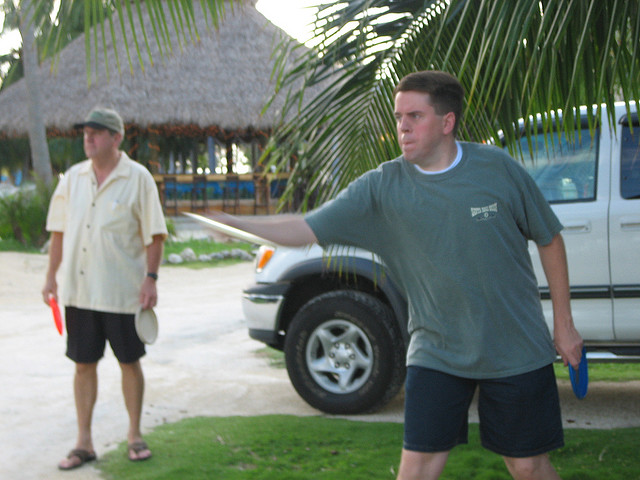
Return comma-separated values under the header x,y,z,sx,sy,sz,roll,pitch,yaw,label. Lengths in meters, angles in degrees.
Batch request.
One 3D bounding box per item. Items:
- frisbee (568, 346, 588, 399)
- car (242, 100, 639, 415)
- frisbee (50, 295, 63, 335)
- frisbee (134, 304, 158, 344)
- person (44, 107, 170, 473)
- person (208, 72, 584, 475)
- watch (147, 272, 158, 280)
x,y,z,sx,sy,sz,roll,pitch,yaw,label
1.413,0.739,4.661,0.090,0.352,0.316,1,6,19,frisbee
1.071,0.239,7.016,3.290,1.779,1.701,0,-3,6,car
-1.904,0.548,6.130,0.074,0.281,0.379,-2,6,-18,frisbee
-1.178,0.572,5.778,0.194,0.280,0.134,-5,6,-40,frisbee
-1.485,0.298,5.851,0.878,2.391,0.568,-1,5,-4,person
0.661,0.172,4.431,1.366,2.079,0.480,1,5,15,person
-1.142,0.246,5.824,0.089,0.050,0.048,-6,8,-44,watch
